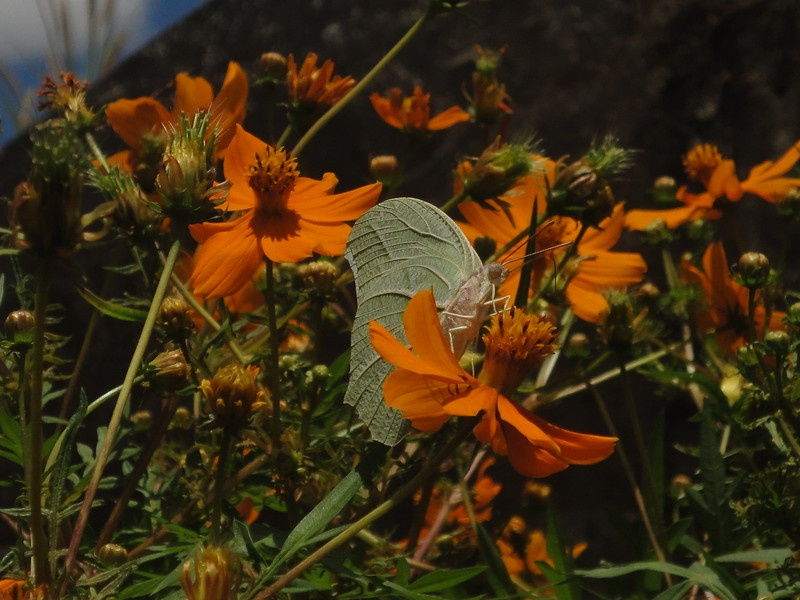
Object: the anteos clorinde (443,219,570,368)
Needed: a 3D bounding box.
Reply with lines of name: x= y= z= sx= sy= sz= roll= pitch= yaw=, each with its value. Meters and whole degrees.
anteos clorinde: x=0.146 y=-0.003 z=1.612 sx=0.255 sy=0.080 sz=0.162 roll=-39 pitch=7 yaw=-2
